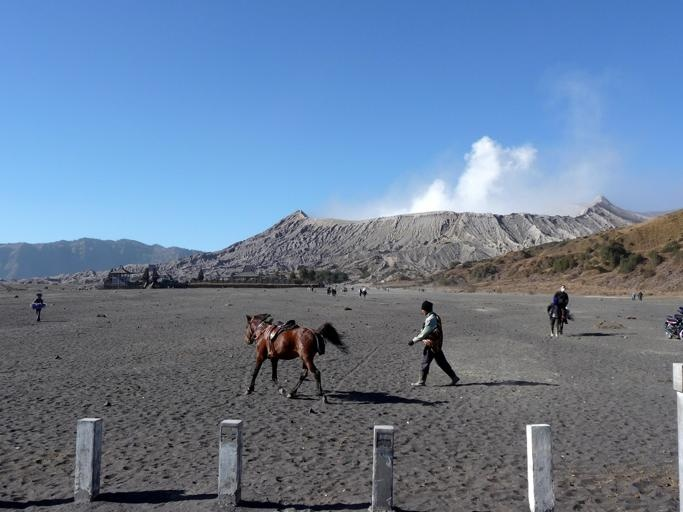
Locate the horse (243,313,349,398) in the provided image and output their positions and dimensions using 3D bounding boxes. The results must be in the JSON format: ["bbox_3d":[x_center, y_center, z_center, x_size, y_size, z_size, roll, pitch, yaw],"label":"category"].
[{"bbox_3d":[-1.318,2.570,13.821,3.597,2.087,0.824,-7,-14,38],"label":"horse"}]

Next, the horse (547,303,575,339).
[{"bbox_3d":[11.072,3.157,26.933,1.353,1.662,3.118,9,13,21],"label":"horse"}]
